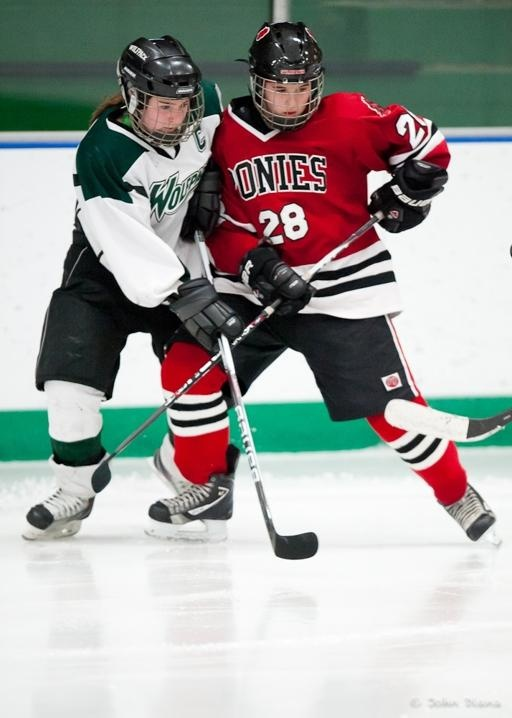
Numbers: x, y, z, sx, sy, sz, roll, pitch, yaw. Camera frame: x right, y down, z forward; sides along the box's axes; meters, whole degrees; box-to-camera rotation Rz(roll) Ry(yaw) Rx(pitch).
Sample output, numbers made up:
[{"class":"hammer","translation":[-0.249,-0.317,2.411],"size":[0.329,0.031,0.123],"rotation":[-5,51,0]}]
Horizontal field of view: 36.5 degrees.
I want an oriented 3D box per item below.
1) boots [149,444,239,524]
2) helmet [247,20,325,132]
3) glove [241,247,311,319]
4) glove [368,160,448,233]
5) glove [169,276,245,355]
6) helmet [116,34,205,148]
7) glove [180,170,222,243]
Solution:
[{"class":"boots","translation":[-0.156,0.318,1.868],"size":[0.097,0.169,0.286],"rotation":[19,7,38]},{"class":"helmet","translation":[0.064,-0.624,1.722],"size":[0.155,0.216,0.214],"rotation":[0,28,-2]},{"class":"glove","translation":[0.044,-0.176,1.798],"size":[0.183,0.114,0.080],"rotation":[47,15,14]},{"class":"glove","translation":[0.341,-0.364,1.801],"size":[0.114,0.178,0.075],"rotation":[33,64,-4]},{"class":"glove","translation":[-0.112,-0.097,1.749],"size":[0.126,0.073,0.186],"rotation":[-41,83,-10]},{"class":"helmet","translation":[-0.200,-0.576,1.689],"size":[0.188,0.221,0.196],"rotation":[-4,29,-8]},{"class":"glove","translation":[-0.122,-0.363,1.866],"size":[0.061,0.139,0.109],"rotation":[18,5,-3]}]
